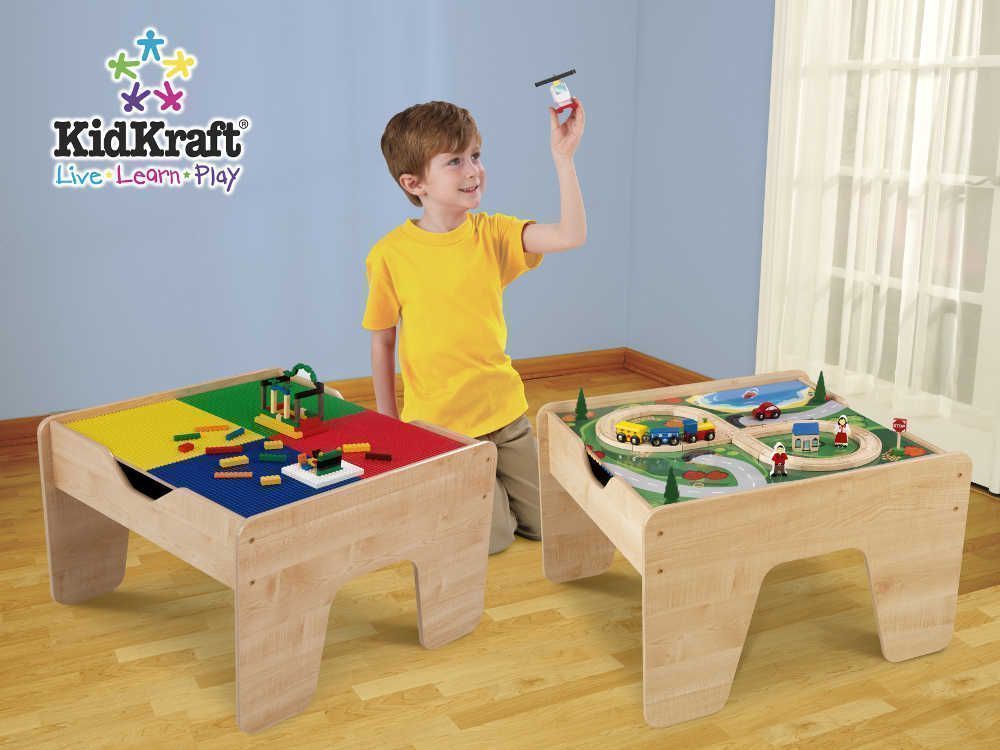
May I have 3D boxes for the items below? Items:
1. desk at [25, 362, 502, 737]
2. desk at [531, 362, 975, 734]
[{"bbox_3d":[-0.533,0.335,1.941,0.736,0.436,0.711,15,18,35],"label":"desk"},{"bbox_3d":[0.541,0.316,1.905,0.750,0.529,0.562,-7,17,-16],"label":"desk"}]
